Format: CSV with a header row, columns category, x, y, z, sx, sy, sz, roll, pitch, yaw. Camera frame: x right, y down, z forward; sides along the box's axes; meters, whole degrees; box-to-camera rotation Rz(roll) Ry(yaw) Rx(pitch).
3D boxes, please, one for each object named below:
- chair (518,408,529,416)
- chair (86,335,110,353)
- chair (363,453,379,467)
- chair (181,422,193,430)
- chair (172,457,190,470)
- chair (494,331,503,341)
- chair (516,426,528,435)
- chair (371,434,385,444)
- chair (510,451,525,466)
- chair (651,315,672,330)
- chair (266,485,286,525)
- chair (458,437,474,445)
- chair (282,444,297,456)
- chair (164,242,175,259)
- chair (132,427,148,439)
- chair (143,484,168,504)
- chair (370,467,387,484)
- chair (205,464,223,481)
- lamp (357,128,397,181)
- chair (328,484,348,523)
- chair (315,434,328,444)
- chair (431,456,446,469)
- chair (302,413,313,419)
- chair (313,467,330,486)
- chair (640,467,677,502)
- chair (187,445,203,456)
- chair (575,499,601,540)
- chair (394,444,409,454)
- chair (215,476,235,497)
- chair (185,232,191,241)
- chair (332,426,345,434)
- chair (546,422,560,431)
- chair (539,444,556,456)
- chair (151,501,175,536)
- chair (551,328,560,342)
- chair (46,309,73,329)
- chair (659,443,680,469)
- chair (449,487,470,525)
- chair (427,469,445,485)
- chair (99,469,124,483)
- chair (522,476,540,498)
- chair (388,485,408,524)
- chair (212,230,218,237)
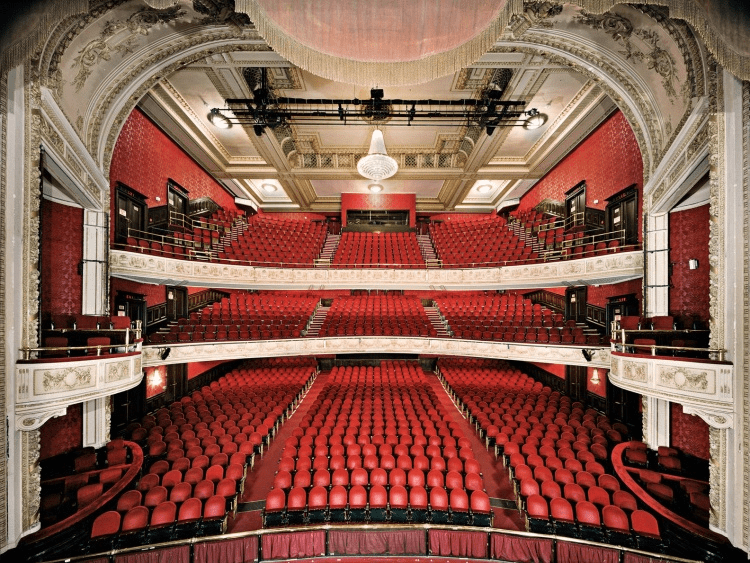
category,x,y,z,sx,sy,sz,roll,pitch,yaw
chair,3.805,3.371,13.125,0.181,0.102,0.179,-4,5,-36
chair,-5.379,1.329,10.038,0.409,0.427,0.467,1,9,-23
chair,-0.075,3.893,10.995,0.320,0.185,0.354,1,8,0
chair,-4.492,3.489,12.217,0.143,0.141,0.134,14,6,28
chair,-4.113,3.883,10.843,0.208,0.245,0.256,0,27,-8
chair,3.522,1.593,14.604,0.186,0.228,0.203,-1,-16,5
chair,3.496,3.579,12.148,0.215,0.111,0.212,-3,6,-16
chair,0.082,3.654,11.725,0.254,0.155,0.255,1,8,-1
chair,3.132,3.903,11.190,0.279,0.239,0.260,5,-25,-16
chair,6.028,0.879,10.757,0.319,0.330,0.399,-3,9,25
chair,-1.932,4.402,9.913,0.494,0.690,0.492,0,-27,-1
chair,2.060,3.679,11.677,0.185,0.152,0.184,3,-5,-2
chair,-1.869,3.780,11.335,0.275,0.125,0.400,1,8,0
chair,-5.511,-0.824,13.719,0.291,0.405,0.615,-2,9,-22
chair,-5.515,3.586,11.970,0.231,0.215,0.234,17,-14,22
chair,-4.261,4.211,9.950,0.418,0.292,0.456,-2,9,-19
chair,0.072,4.029,10.500,0.274,0.174,0.273,-11,-2,0
chair,-3.335,3.964,10.676,0.389,0.357,0.213,-2,-11,-4
lamp,0.087,-3.242,12.822,0.890,1.232,1.072,-2,9,-23
chair,-0.707,4.365,10.047,0.362,0.511,0.412,0,9,-5
chair,-1.226,3.643,11.695,0.318,0.138,0.281,1,8,-5
chair,1.335,3.910,10.817,0.312,0.190,0.446,2,8,7
chair,-1.678,3.442,12.927,0.133,0.120,0.133,0,-3,3
chair,-1.089,4.042,10.544,0.346,0.233,0.308,1,8,-4
chair,5.662,4.076,10.227,0.396,0.343,0.635,0,8,-7
chair,-3.972,3.762,11.292,0.289,0.134,0.384,-1,8,-16
chair,4.032,4.501,9.652,0.434,0.534,0.365,3,9,10
chair,0.574,3.755,11.378,0.223,0.150,0.221,4,-4,-23
chair,-2.985,4.137,10.245,0.373,0.242,0.352,-1,8,-16
chair,-5.464,-1.319,15.036,0.152,0.237,0.433,0,8,-8
chair,-0.859,3.519,12.029,0.168,0.107,0.168,2,-1,8
chair,4.250,3.518,12.253,0.196,0.104,0.194,-4,9,14
chair,3.836,3.786,11.370,0.238,0.256,0.278,0,2,13
chair,-3.955,4.441,9.587,0.423,0.417,0.421,-3,9,-25
chair,4.868,1.465,13.772,0.267,0.309,0.573,4,8,18
chair,-6.384,0.806,10.405,0.374,0.500,0.403,4,-16,-21
chair,6.177,3.724,10.760,0.373,0.396,0.336,-10,-13,40
chair,1.644,4.376,9.962,0.369,0.498,0.389,2,9,8
chair,1.233,4.033,10.481,0.265,0.191,0.264,1,-1,6
chair,-5.422,4.000,10.501,0.402,0.237,0.167,-4,10,-34
chair,3.105,4.142,10.248,0.352,0.283,0.284,4,9,20
chair,0.460,4.370,10.067,0.365,0.535,0.371,2,9,3
chair,-5.134,-1.508,16.399,0.191,0.141,0.190,0,-1,-6
